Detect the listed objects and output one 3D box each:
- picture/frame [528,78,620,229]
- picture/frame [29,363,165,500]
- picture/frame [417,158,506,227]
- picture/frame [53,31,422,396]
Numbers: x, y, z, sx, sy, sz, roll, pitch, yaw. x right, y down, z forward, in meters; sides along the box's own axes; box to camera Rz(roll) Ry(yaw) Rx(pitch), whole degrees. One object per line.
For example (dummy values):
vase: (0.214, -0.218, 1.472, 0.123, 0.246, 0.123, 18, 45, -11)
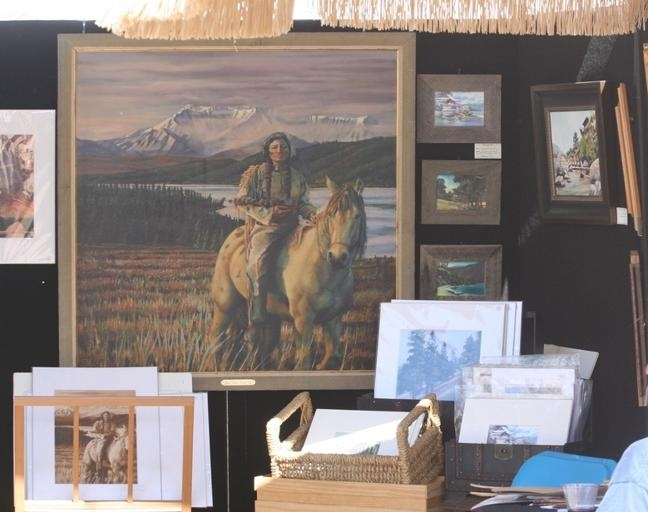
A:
picture/frame: (1.271, -0.509, 8.263, 0.133, 0.706, 0.459, -3, 3, -40)
picture/frame: (-1.139, 0.913, 8.282, 0.653, 0.678, 0.017, 0, -2, -1)
picture/frame: (0.721, -0.334, 8.504, 0.331, 0.263, 0.014, 0, 0, 0)
picture/frame: (-0.485, -0.235, 8.409, 1.806, 1.883, 0.072, 0, 2, 3)
